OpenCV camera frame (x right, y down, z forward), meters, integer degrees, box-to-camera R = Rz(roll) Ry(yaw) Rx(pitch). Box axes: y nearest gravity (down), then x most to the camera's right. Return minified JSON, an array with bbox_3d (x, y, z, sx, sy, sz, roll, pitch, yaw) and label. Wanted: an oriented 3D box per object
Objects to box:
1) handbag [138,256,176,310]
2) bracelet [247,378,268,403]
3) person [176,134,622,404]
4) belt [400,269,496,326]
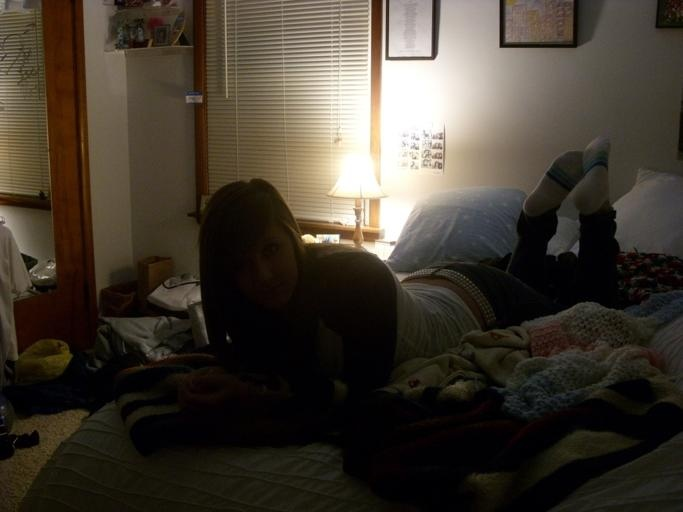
[{"bbox_3d":[-1.367,0.212,4.099,0.145,0.430,0.288,19,20,37],"label":"handbag"},{"bbox_3d":[-0.239,0.380,1.581,0.051,0.053,0.013,0,-27,-44],"label":"bracelet"},{"bbox_3d":[0.339,0.024,2.015,1.660,0.727,0.550,-12,6,-18],"label":"person"},{"bbox_3d":[0.424,0.139,2.028,0.181,0.060,0.221,-27,18,-22],"label":"belt"}]
